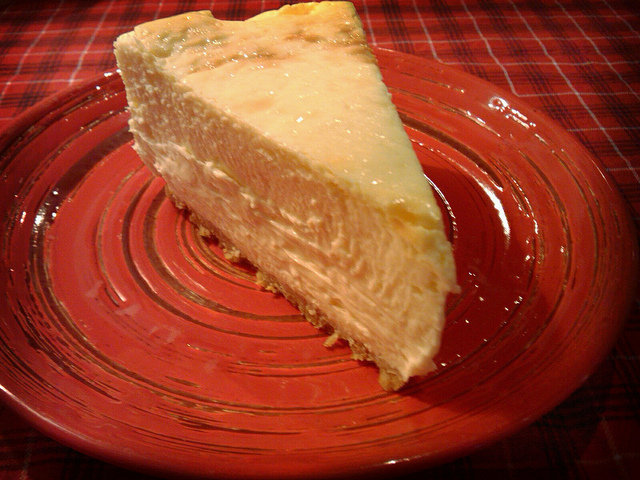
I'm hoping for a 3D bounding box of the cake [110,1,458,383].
[{"bbox_3d":[-0.037,-0.051,1.229,0.524,0.426,0.765,-28,61,-18],"label":"cake"}]
